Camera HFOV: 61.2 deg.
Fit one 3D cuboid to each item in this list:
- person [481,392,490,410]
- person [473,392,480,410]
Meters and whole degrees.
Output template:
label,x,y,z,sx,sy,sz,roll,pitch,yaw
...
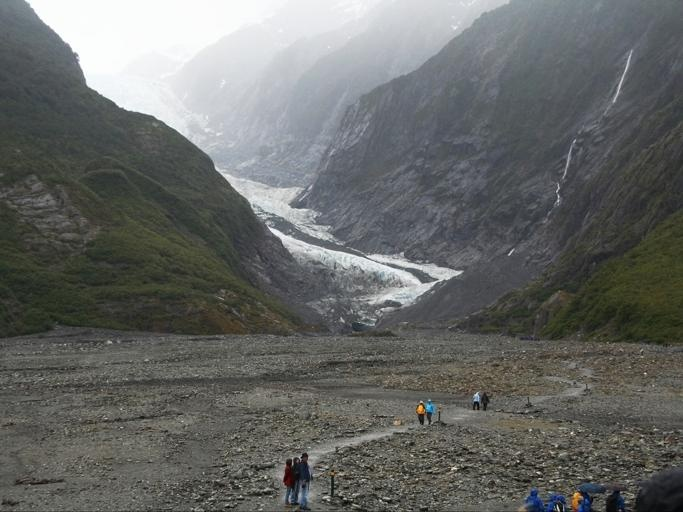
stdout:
label,x,y,z,sx,sy,sz,roll,pitch,yaw
person,9.870,9.928,39.449,0.568,1.227,1.818,-8,-1,12
person,9.225,9.875,39.148,0.588,1.180,1.053,-7,-1,11
